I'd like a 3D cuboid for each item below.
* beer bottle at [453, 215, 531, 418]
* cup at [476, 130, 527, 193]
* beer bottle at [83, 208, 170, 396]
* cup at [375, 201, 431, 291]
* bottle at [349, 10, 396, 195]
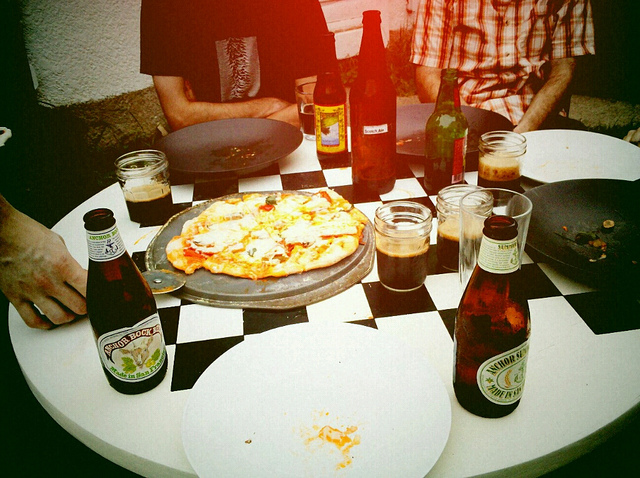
[{"bbox_3d":[0.387,0.177,1.130,0.162,0.485,0.161,-5,28,2],"label":"beer bottle"},{"bbox_3d":[0.628,-0.234,1.776,0.149,0.246,0.153,-3,30,2],"label":"cup"},{"bbox_3d":[-0.474,0.154,1.205,0.154,0.474,0.154,-2,26,1],"label":"beer bottle"},{"bbox_3d":[0.242,0.032,1.460,0.150,0.226,0.150,-3,27,2],"label":"cup"},{"bbox_3d":[0.186,-0.464,1.748,0.162,0.610,0.172,-3,27,2],"label":"bottle"}]
